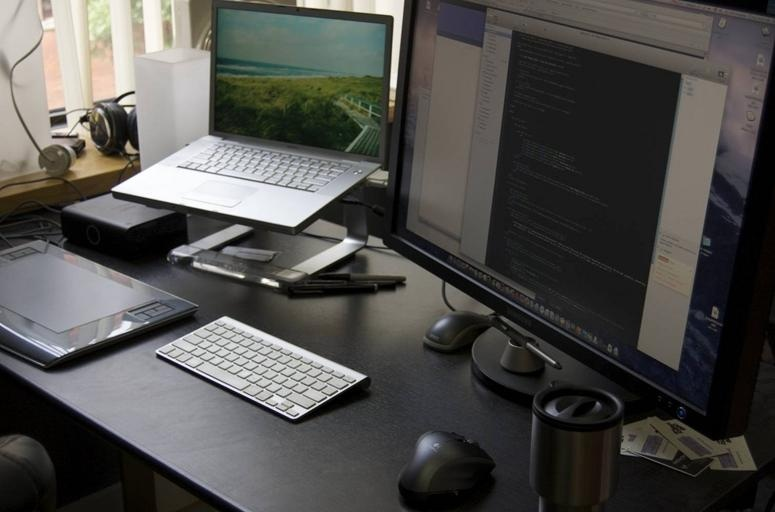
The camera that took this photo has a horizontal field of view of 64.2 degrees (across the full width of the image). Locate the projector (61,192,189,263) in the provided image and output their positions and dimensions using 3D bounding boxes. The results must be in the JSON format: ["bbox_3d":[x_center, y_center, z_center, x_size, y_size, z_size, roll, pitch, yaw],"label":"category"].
[{"bbox_3d":[-0.649,-0.079,1.498,0.192,0.070,0.203,15,25,23],"label":"projector"}]

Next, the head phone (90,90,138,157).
[{"bbox_3d":[-0.822,-0.411,1.932,0.181,0.092,0.199,2,26,8],"label":"head phone"}]

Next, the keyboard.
[{"bbox_3d":[-0.239,0.198,1.123,0.365,0.039,0.195,15,21,33],"label":"keyboard"}]
